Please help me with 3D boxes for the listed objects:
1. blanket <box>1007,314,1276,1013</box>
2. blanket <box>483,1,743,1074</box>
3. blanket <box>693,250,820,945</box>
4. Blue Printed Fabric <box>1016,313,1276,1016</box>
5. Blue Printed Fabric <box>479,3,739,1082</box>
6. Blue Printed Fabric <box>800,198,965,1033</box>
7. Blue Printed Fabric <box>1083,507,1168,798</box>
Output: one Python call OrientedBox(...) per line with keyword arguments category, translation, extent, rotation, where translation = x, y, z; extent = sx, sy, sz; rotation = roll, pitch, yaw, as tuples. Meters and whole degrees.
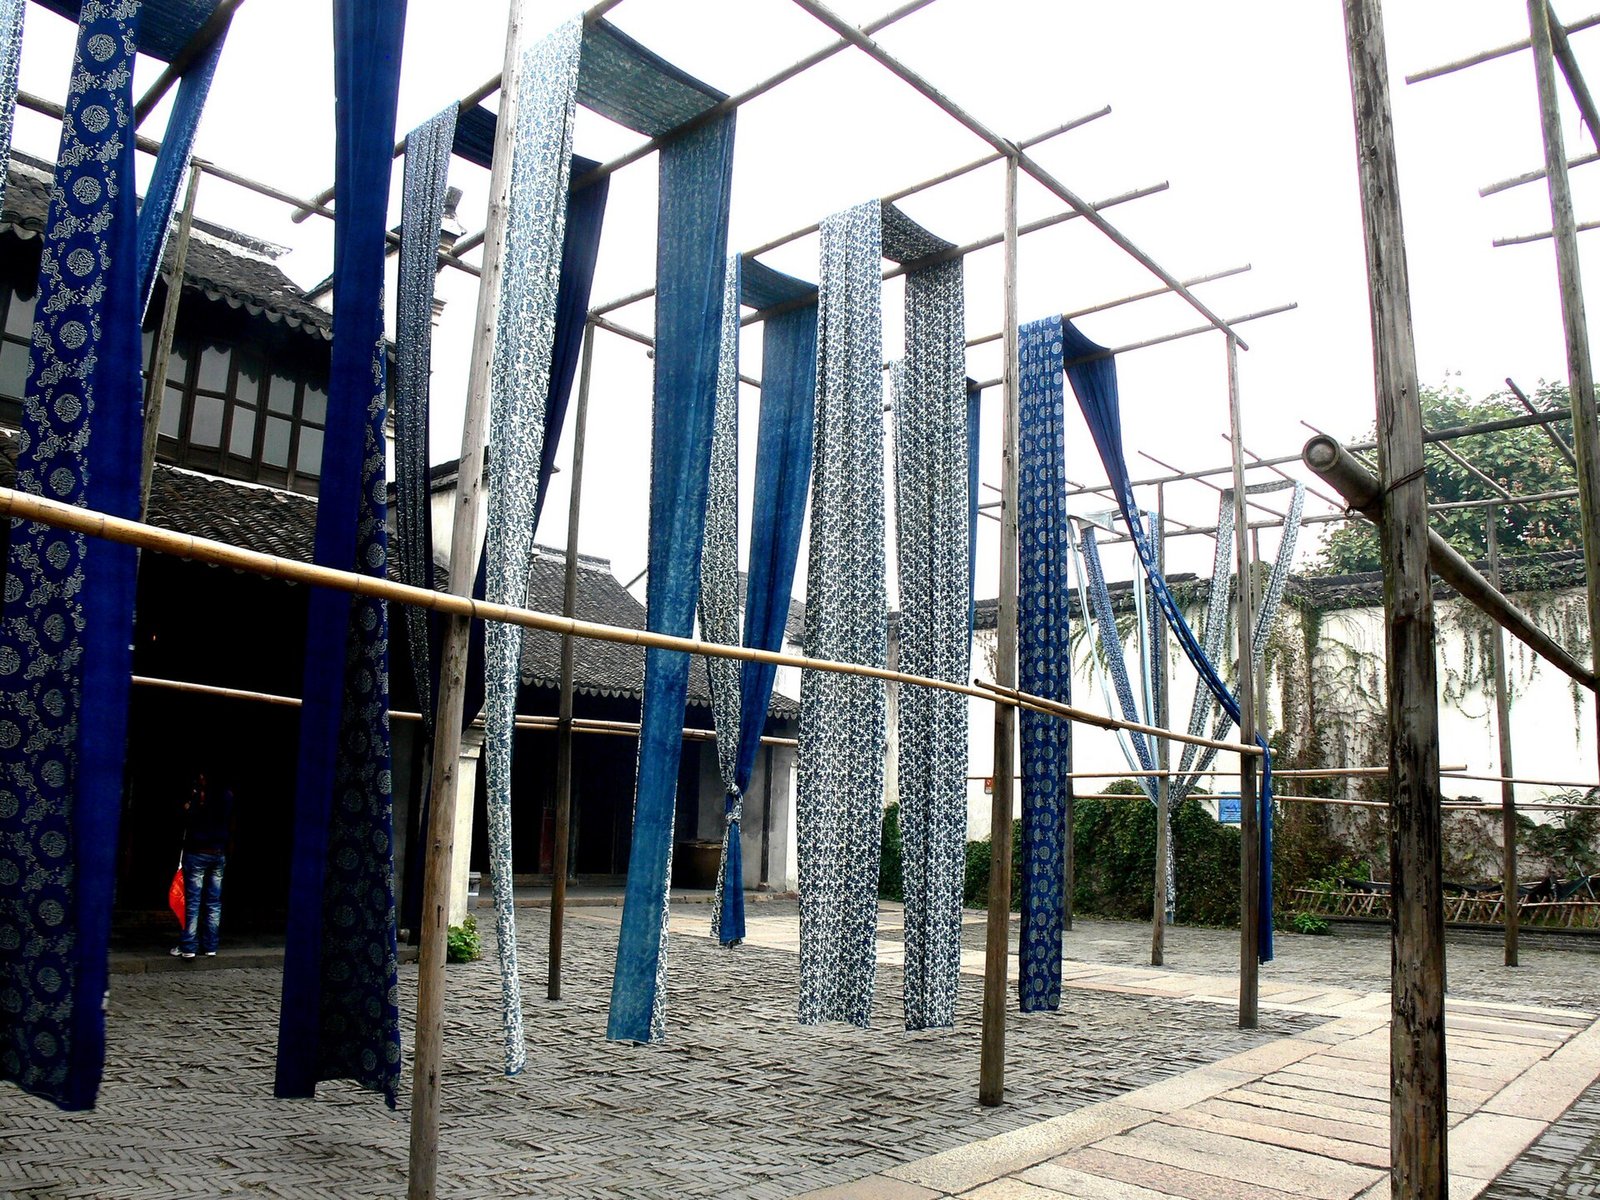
OrientedBox(category="blanket", translation=(2.474, 0.857, 9.551), extent=(0.345, 4.845, 4.016), rotation=(-11, -19, 36))
OrientedBox(category="blanket", translation=(-0.656, -0.405, 6.653), extent=(0.505, 5.121, 1.265), rotation=(4, -13, -5))
OrientedBox(category="blanket", translation=(-0.229, 0.042, 7.326), extent=(0.264, 3.631, 0.654), rotation=(6, -1, -7))
OrientedBox(category="Blue Printed Fabric", translation=(2.532, 0.884, 9.660), extent=(0.339, 4.840, 4.001), rotation=(-10, -19, 36))
OrientedBox(category="Blue Printed Fabric", translation=(-0.728, -0.297, 6.008), extent=(0.729, 4.434, 1.093), rotation=(-7, -14, 32))
OrientedBox(category="Blue Printed Fabric", translation=(0.505, -0.163, 7.085), extent=(0.946, 4.422, 0.266), rotation=(-2, -27, 5))
OrientedBox(category="Blue Printed Fabric", translation=(2.815, 0.479, 11.458), extent=(0.394, 2.947, 0.331), rotation=(-12, 7, -5))
